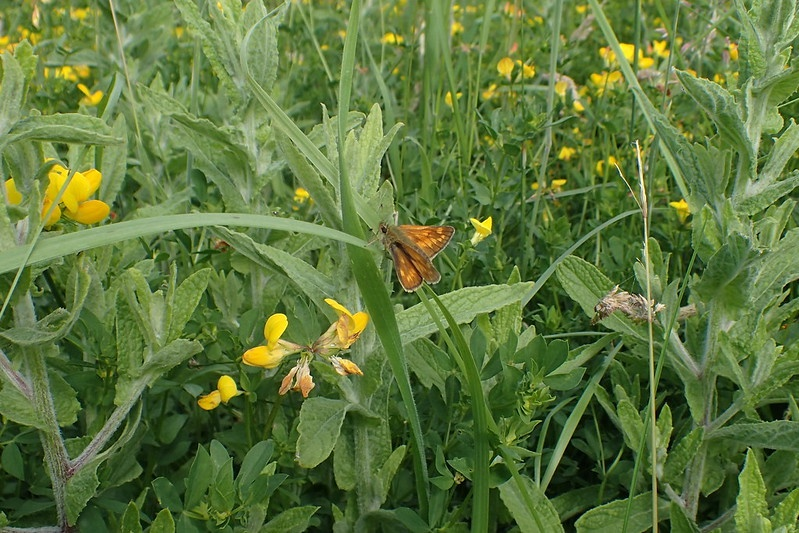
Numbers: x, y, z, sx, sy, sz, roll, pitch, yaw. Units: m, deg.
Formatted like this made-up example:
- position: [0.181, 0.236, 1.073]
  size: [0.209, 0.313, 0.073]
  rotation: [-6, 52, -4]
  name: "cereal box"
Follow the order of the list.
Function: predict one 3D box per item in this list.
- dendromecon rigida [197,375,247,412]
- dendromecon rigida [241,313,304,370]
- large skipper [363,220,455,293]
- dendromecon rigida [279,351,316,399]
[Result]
- position: [-0.546, 0.391, 2.401]
  size: [0.136, 0.081, 0.110]
  rotation: [-4, 14, -18]
  name: "dendromecon rigida"
- position: [-0.372, 0.230, 2.300]
  size: [0.148, 0.216, 0.148]
  rotation: [12, 20, 24]
  name: "dendromecon rigida"
- position: [0.037, -0.043, 2.416]
  size: [0.133, 0.215, 0.232]
  rotation: [-25, 23, 30]
  name: "large skipper"
- position: [-0.302, 0.335, 2.338]
  size: [0.093, 0.147, 0.051]
  rotation: [23, -28, -16]
  name: "dendromecon rigida"
